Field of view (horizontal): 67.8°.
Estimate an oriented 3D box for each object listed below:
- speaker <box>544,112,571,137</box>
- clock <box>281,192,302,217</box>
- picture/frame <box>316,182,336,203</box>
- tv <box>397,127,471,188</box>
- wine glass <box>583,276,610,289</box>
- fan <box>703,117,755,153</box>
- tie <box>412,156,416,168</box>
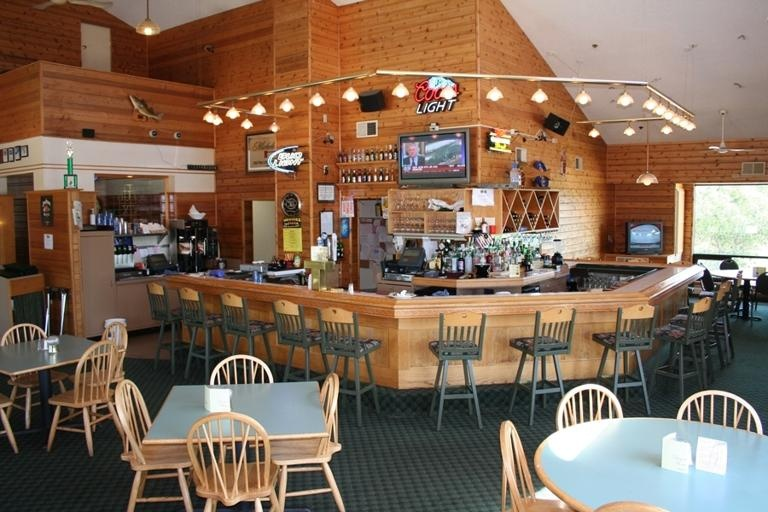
[{"bbox_3d":[3.780,-2.924,12.626,0.708,0.414,0.173,20,8,-36],"label":"speaker"},{"bbox_3d":[-1.918,-1.063,11.783,0.527,0.497,0.121,2,3,33],"label":"clock"},{"bbox_3d":[-1.220,-1.320,11.797,0.070,0.324,0.512,2,3,40],"label":"picture/frame"},{"bbox_3d":[0.941,-1.845,10.712,1.560,0.932,0.167,4,6,39],"label":"tv"},{"bbox_3d":[4.242,0.499,11.430,0.313,0.168,0.294,-1,3,-21],"label":"wine glass"},{"bbox_3d":[8.028,-2.836,13.240,1.145,0.864,1.094,-3,3,-37],"label":"fan"},{"bbox_3d":[0.564,-1.810,10.942,0.100,0.158,0.045,0,-1,19],"label":"tie"}]
